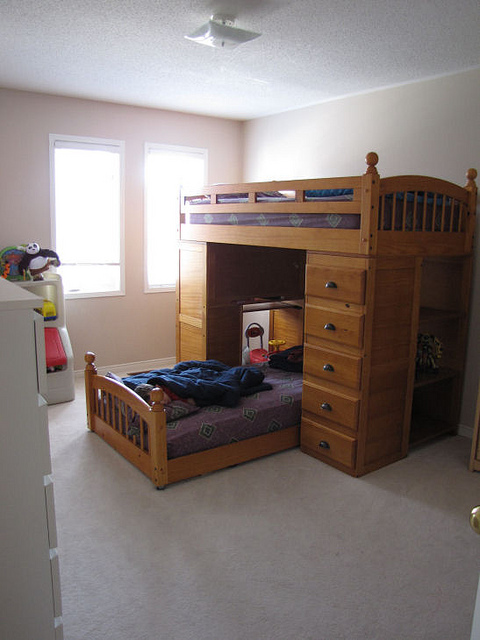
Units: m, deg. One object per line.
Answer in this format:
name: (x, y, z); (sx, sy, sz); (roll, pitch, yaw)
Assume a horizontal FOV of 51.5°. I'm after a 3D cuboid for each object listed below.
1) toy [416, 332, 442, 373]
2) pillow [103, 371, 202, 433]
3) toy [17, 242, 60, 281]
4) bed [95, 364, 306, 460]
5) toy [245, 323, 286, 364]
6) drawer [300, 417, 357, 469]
toy: (1.372, 0.237, 3.577); (0.180, 0.248, 0.210); (2, -3, -32)
pillow: (-0.575, 0.526, 3.282); (0.460, 0.248, 0.641); (-6, 11, -39)
toy: (-1.783, -0.507, 4.419); (0.254, 0.339, 0.302); (-3, 15, -39)
bed: (-0.088, 0.540, 3.421); (1.423, 0.360, 0.763); (-4, 10, -33)
toy: (0.274, 0.246, 5.241); (0.417, 0.328, 0.915); (0, 8, -10)
drawer: (0.567, 0.782, 3.165); (0.218, 0.167, 0.339); (0, 9, -32)
